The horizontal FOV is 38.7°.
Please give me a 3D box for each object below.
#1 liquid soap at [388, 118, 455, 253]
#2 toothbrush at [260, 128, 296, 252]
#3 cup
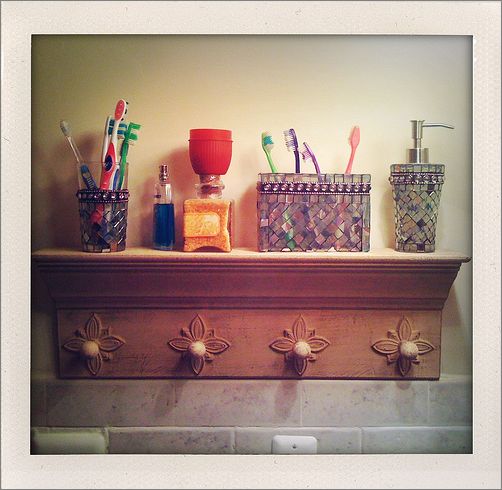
[{"bbox_3d":[0.308,-0.109,1.310,0.093,0.242,0.099,3,-3,-44],"label":"liquid soap"},{"bbox_3d":[0.046,-0.109,1.304,0.027,0.304,0.037,-11,0,30],"label":"toothbrush"},{"bbox_3d":[-0.271,-0.073,1.301,0.094,0.169,0.099,0,6,0],"label":"cup"}]
